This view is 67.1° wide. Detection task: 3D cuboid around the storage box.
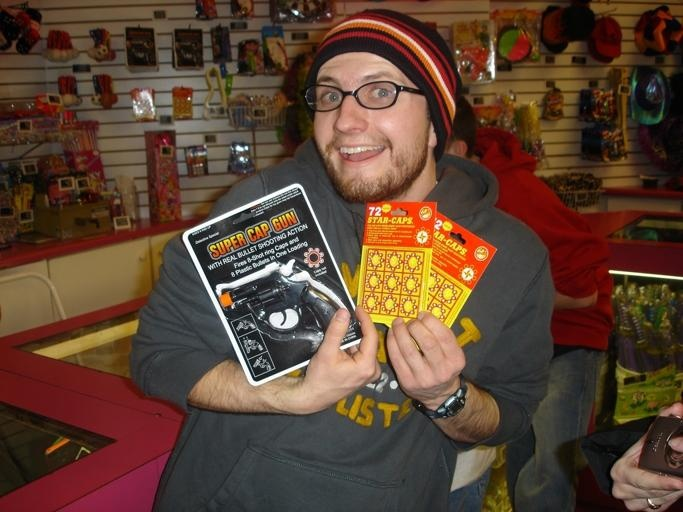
[{"bbox_3d":[-2.234,-0.287,4.320,0.479,0.270,0.545,6,6,18],"label":"storage box"}]
